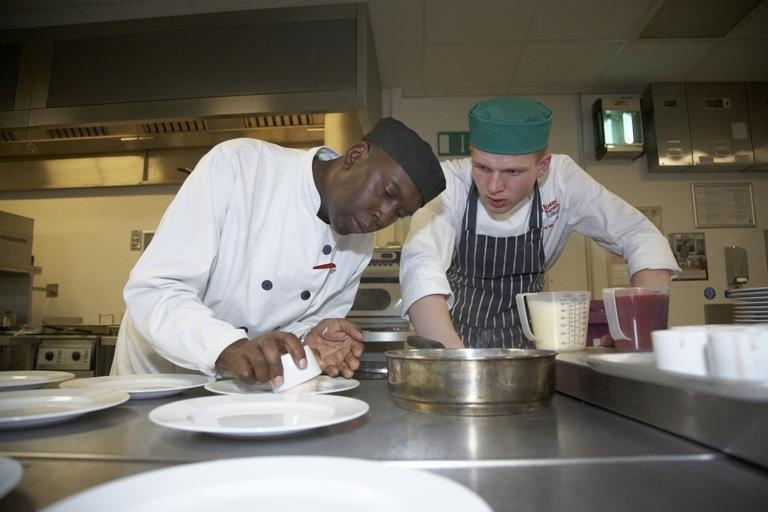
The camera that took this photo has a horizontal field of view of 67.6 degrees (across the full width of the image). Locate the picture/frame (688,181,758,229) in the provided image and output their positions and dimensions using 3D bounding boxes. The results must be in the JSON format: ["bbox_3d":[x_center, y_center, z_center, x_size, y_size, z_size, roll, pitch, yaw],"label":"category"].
[{"bbox_3d":[2.627,-0.383,4.482,0.365,0.352,0.025,0,-7,-5],"label":"picture/frame"}]

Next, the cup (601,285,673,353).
[{"bbox_3d":[0.825,0.200,1.883,0.216,0.218,0.187,-4,-2,-6],"label":"cup"}]

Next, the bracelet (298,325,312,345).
[{"bbox_3d":[-0.290,0.292,2.104,0.045,0.061,0.053,-3,19,-36],"label":"bracelet"}]

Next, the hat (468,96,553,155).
[{"bbox_3d":[0.501,-0.532,2.335,0.288,0.227,0.257,-10,17,-38],"label":"hat"}]

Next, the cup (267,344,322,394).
[{"bbox_3d":[-0.255,0.337,1.651,0.128,0.096,0.130,-26,-4,-2],"label":"cup"}]

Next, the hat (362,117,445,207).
[{"bbox_3d":[0.068,-0.333,2.046,0.299,0.305,0.140,1,13,3],"label":"hat"}]

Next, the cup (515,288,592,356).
[{"bbox_3d":[0.568,0.222,1.964,0.228,0.191,0.191,-2,-4,-1],"label":"cup"}]
